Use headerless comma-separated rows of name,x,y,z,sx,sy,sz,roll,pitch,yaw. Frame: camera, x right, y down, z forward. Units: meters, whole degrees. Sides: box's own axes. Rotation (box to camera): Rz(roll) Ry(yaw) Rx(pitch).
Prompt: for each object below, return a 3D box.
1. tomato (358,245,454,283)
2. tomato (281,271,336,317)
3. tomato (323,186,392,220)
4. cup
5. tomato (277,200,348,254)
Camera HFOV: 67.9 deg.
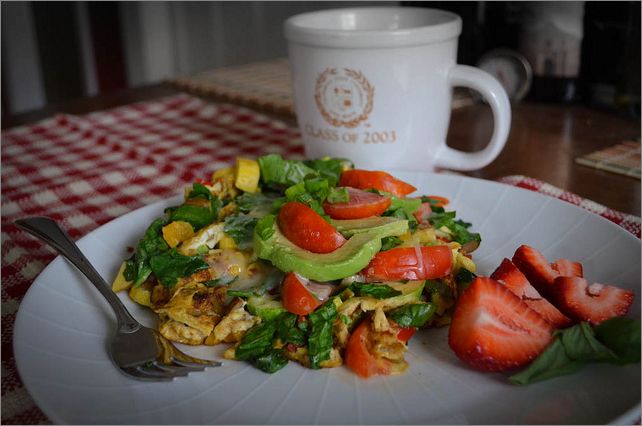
tomato,0.178,0.097,0.934,0.142,0.049,0.079,-4,21,4
tomato,-0.038,0.154,0.933,0.077,0.038,0.088,12,27,-15
tomato,0.080,-0.018,1.035,0.089,0.036,0.098,-6,16,6
cup,0.182,-0.347,1.337,0.582,0.412,0.397,19,34,32
tomato,-0.013,0.030,0.971,0.121,0.072,0.080,24,3,4
